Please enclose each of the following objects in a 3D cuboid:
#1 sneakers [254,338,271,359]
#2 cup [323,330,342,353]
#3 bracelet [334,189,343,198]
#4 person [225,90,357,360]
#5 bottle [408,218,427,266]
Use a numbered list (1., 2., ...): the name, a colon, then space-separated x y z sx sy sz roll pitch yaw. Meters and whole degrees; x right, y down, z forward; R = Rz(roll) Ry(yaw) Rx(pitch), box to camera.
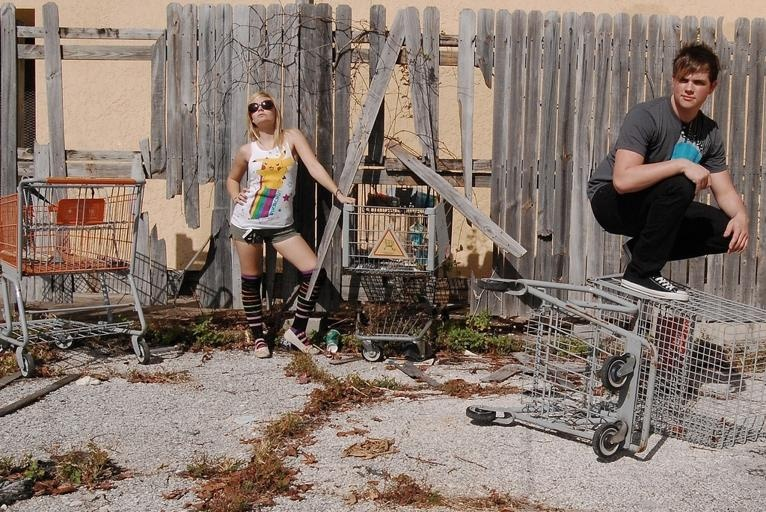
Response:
1. sneakers: -1.164 0.879 7.940 0.183 0.175 0.198 0 8 3
2. cup: -0.471 0.826 7.879 0.120 0.213 0.272 -2 8 -7
3. bracelet: -0.412 -0.595 7.779 0.077 0.088 0.229 -1 -3 -1
4. person: -1.026 -0.304 7.961 0.938 2.503 0.491 -2 7 -7
5. bottle: 0.338 -0.120 7.767 0.165 0.425 0.104 -2 7 -7
